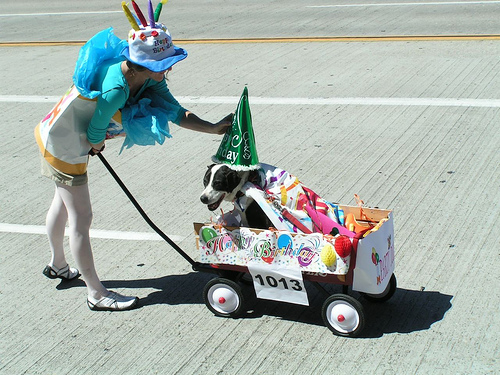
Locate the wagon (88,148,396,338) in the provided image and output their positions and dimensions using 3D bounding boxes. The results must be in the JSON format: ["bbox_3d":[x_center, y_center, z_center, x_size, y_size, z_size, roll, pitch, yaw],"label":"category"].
[{"bbox_3d":[-0.149,0.429,4.320,2.237,1.233,0.778,6,2,4],"label":"wagon"}]

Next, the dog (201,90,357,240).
[{"bbox_3d":[0.249,-0.128,4.390,1.701,1.077,0.790,6,2,-41],"label":"dog"}]

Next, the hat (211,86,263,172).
[{"bbox_3d":[-0.076,-0.418,3.997,0.308,0.642,0.327,16,31,30],"label":"hat"}]

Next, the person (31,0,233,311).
[{"bbox_3d":[-1.069,-0.262,4.324,1.292,2.421,0.924,-23,37,-27],"label":"person"}]
